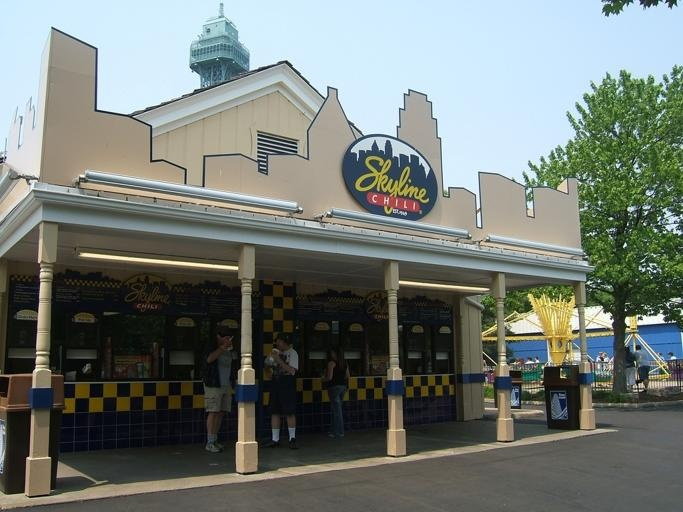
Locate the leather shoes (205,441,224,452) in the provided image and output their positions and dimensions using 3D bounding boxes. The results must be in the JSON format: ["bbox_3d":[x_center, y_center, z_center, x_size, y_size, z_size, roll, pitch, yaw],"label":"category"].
[{"bbox_3d":[-2.532,3.789,13.133,0.363,0.166,0.149,-5,-10,24],"label":"leather shoes"}]

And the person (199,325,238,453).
[{"bbox_3d":[-2.452,2.623,13.053,0.535,2.407,0.842,0,-13,-12],"label":"person"}]

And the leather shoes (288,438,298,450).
[{"bbox_3d":[-0.974,3.850,13.519,0.109,0.233,0.331,8,-29,-21],"label":"leather shoes"}]

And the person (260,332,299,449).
[{"bbox_3d":[-1.272,2.788,13.960,0.660,2.393,1.537,-1,-13,-6],"label":"person"}]

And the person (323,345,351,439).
[{"bbox_3d":[-0.120,3.097,15.000,0.541,1.955,0.726,-2,-12,-1],"label":"person"}]

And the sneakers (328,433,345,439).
[{"bbox_3d":[-0.152,4.058,14.944,0.284,0.131,0.116,-3,-14,42],"label":"sneakers"}]

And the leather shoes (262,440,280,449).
[{"bbox_3d":[-1.449,3.882,13.676,0.430,0.195,0.160,2,-17,4],"label":"leather shoes"}]

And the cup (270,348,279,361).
[{"bbox_3d":[-1.357,2.009,13.477,0.168,0.240,0.244,2,-12,-5],"label":"cup"}]
